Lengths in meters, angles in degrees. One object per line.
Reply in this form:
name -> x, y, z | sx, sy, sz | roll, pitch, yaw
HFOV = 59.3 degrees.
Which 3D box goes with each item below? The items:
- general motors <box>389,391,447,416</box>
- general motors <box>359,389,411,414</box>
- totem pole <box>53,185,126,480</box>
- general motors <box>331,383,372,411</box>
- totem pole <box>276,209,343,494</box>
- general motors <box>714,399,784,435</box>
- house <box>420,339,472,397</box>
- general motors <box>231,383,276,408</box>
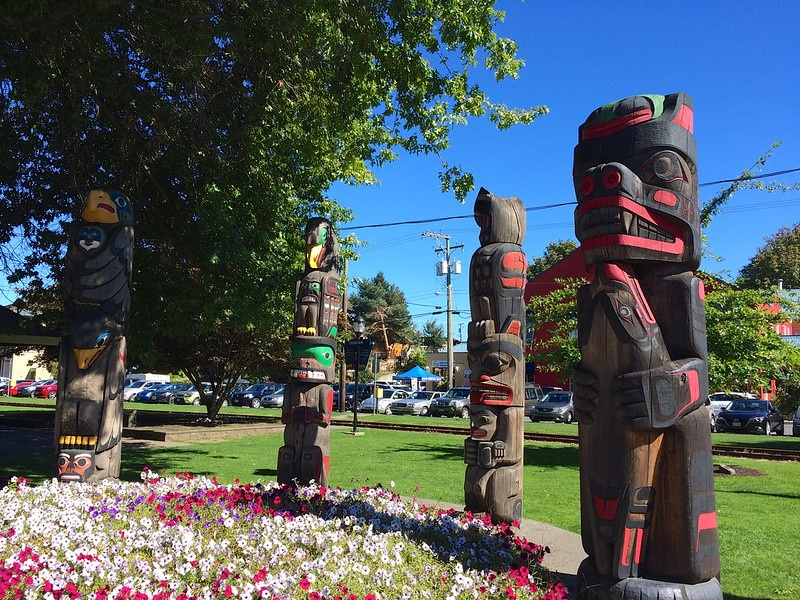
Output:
general motors -> 0.753, 4.411, 29.921 | 0.944, 0.710, 2.123 | -11, -18, 43
general motors -> -0.589, 4.501, 31.465 | 0.954, 0.772, 2.197 | -8, -16, 31
totem pole -> -4.246, 0.450, 9.773 | 0.995, 4.048, 0.473 | 8, -12, -24
general motors -> -2.288, 4.557, 33.488 | 1.418, 1.337, 2.513 | -9, -19, 32
totem pole -> -1.330, 0.668, 10.672 | 0.755, 4.157, 0.731 | 5, -11, -10
general motors -> 11.737, 3.903, 23.212 | 1.087, 0.880, 2.545 | -15, -35, 35
house -> 3.233, 3.747, 46.899 | 3.534, 3.059, 3.608 | -2, -11, 12
general motors -> -7.022, 4.799, 35.475 | 2.072, 0.978, 1.116 | 12, -16, -43
